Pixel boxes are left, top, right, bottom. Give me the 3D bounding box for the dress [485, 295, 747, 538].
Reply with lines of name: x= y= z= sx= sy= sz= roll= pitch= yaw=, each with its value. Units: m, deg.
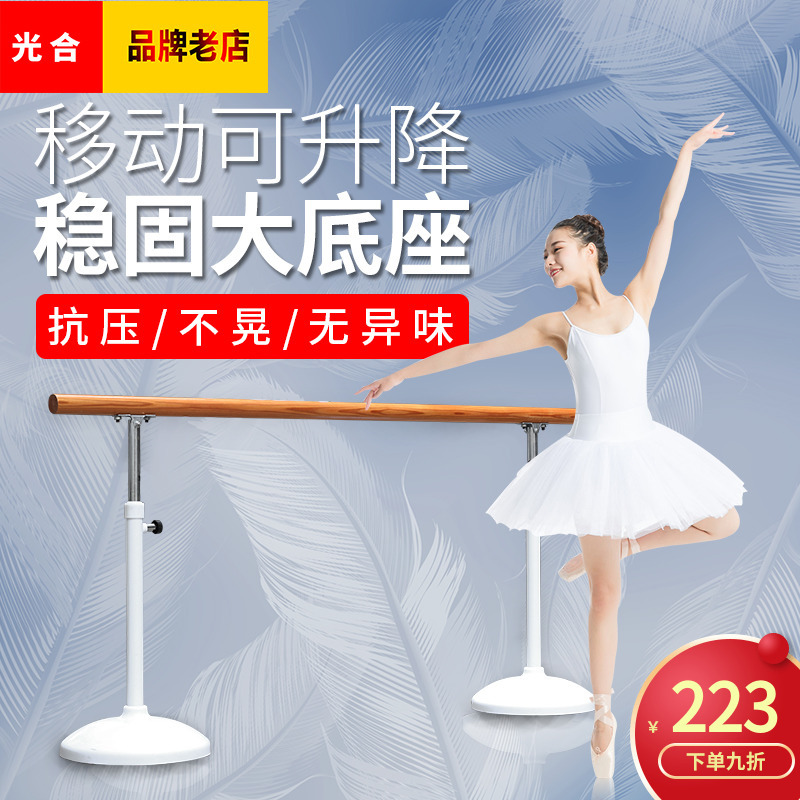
dress: x=0.492 y=0.033 z=2.459 sx=0.504 sy=0.482 sz=0.608 roll=-15 pitch=-4 yaw=25
